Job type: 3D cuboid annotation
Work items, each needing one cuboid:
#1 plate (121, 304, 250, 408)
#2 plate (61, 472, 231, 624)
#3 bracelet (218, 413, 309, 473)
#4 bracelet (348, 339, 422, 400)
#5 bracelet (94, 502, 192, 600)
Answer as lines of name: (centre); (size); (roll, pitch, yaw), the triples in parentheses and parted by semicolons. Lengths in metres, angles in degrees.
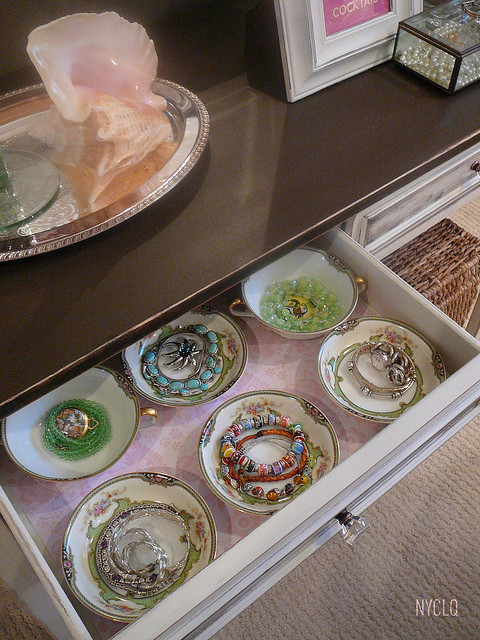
plate: (-0.069, 0.055, 0.666); (0.159, 0.036, 0.160); (-8, 40, -7)
plate: (-0.111, 0.235, 0.535); (0.156, 0.047, 0.140); (-29, 48, -23)
bracelet: (0.033, 0.151, 0.607); (0.101, 0.027, 0.119); (1, 21, -6)
bracelet: (0.192, 0.068, 0.639); (0.073, 0.028, 0.077); (34, 73, 32)
bracelet: (-0.106, 0.252, 0.536); (0.092, 0.026, 0.103); (22, 48, 15)
